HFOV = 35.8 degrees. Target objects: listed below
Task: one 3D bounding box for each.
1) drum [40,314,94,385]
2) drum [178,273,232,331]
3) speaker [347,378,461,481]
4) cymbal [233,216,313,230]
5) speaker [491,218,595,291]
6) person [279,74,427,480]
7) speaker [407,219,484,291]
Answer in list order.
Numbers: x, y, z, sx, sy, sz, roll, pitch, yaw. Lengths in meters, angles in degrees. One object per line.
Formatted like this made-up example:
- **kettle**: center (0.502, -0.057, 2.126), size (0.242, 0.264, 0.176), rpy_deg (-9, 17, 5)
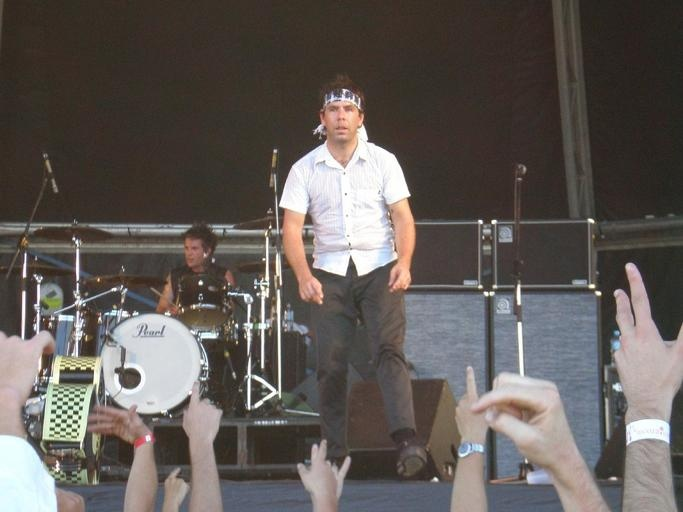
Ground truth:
- **drum**: center (-2.377, 0.801, 9.350), size (0.484, 0.553, 0.494), rpy_deg (2, -2, -30)
- **drum**: center (-1.243, 0.428, 9.500), size (0.435, 0.370, 0.488), rpy_deg (2, -28, -3)
- **speaker**: center (0.485, 1.206, 7.710), size (0.678, 0.780, 0.705), rpy_deg (-3, 12, 18)
- **cymbal**: center (-0.829, -0.314, 10.212), size (0.339, 0.093, 0.354), rpy_deg (-8, -8, 33)
- **speaker**: center (1.601, -0.024, 8.192), size (0.797, 0.664, 0.472), rpy_deg (0, -5, 5)
- **person**: center (0.054, 0.081, 7.516), size (1.101, 2.758, 0.767), rpy_deg (0, 2, 18)
- **speaker**: center (0.821, 0.049, 8.400), size (0.686, 0.691, 0.432), rpy_deg (-1, -8, 6)
